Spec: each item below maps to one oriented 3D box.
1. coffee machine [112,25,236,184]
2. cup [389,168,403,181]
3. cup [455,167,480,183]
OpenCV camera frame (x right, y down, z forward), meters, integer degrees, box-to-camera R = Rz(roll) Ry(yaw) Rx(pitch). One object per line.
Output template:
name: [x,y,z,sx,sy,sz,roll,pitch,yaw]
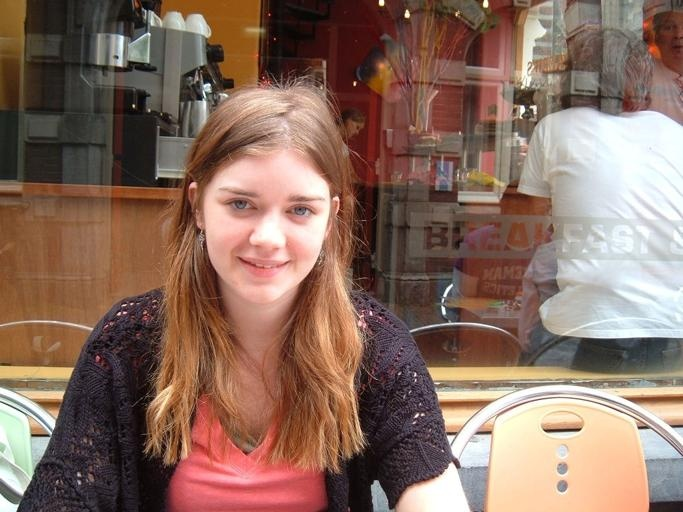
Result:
coffee machine: [-0.952,-0.751,3.630,0.411,0.709,0.745,3,-1,-19]
cup: [0.268,-0.401,3.375,0.062,0.069,0.063,1,-3,0]
cup: [0.590,-0.383,3.200,0.077,0.059,0.060,0,-1,15]
